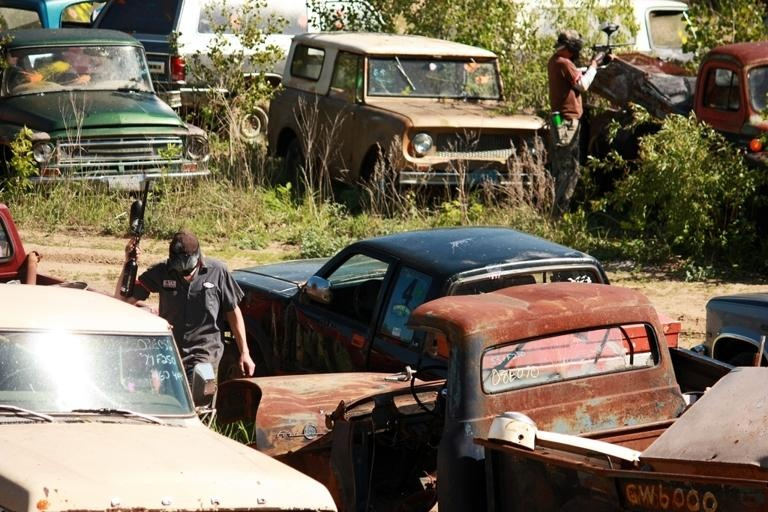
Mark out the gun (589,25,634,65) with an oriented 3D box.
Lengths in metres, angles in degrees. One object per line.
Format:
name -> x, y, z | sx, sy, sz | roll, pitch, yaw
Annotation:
gun -> 3.152, -2.915, 13.216 | 0.622, 0.610, 0.186 | -6, 5, -14

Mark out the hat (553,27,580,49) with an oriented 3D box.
hat -> 2.462, -2.938, 12.922 | 0.305, 0.257, 0.244 | -24, 15, 15

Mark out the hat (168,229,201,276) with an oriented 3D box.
hat -> -1.735, -0.077, 8.359 | 0.267, 0.346, 0.364 | -4, 15, -16
